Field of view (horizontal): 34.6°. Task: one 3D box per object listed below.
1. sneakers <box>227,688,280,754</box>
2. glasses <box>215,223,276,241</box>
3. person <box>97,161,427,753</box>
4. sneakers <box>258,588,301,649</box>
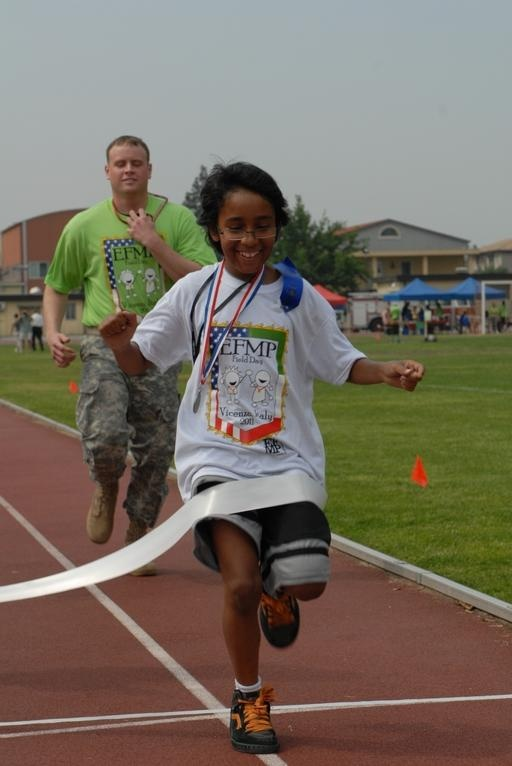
[{"bbox_3d":[-0.005,0.917,2.218,0.131,0.153,0.115,-1,2,0],"label":"sneakers"},{"bbox_3d":[-0.023,-0.422,2.341,0.161,0.048,0.073,0,1,0],"label":"glasses"},{"bbox_3d":[-0.001,0.195,2.361,0.821,1.634,0.642,0,2,19],"label":"person"},{"bbox_3d":[0.072,0.715,2.456,0.096,0.236,0.103,-3,1,2],"label":"sneakers"}]
